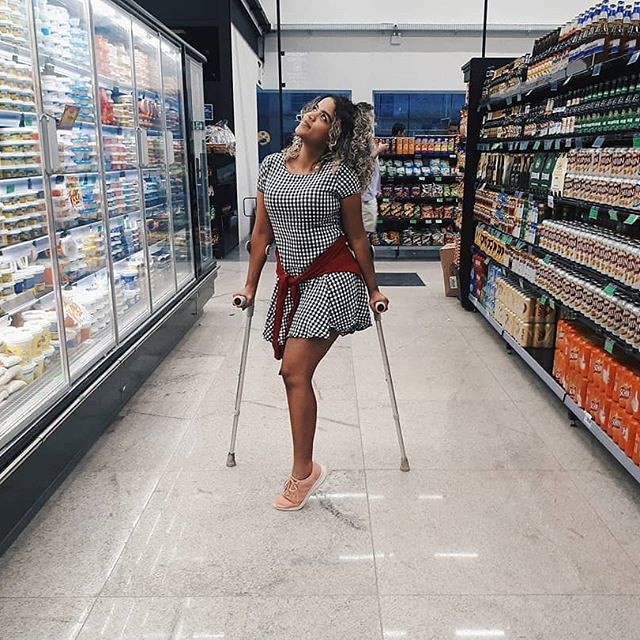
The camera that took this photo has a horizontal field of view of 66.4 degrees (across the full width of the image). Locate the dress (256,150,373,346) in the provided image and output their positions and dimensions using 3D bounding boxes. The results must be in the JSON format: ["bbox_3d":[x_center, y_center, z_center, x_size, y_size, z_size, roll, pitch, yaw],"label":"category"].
[{"bbox_3d":[-0.044,-0.286,2.038,0.480,0.840,0.397,1,13,9],"label":"dress"}]

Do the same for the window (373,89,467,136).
[{"bbox_3d":[2.291,-4.929,11.772,2.132,1.078,0.023,-2,8,-5],"label":"window"}]
